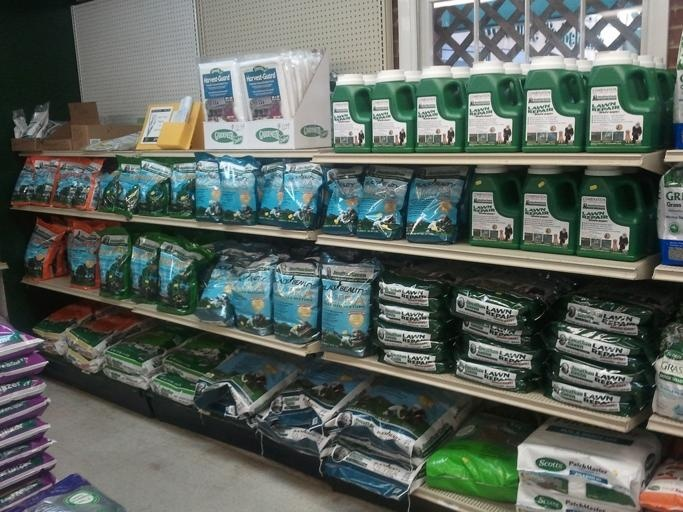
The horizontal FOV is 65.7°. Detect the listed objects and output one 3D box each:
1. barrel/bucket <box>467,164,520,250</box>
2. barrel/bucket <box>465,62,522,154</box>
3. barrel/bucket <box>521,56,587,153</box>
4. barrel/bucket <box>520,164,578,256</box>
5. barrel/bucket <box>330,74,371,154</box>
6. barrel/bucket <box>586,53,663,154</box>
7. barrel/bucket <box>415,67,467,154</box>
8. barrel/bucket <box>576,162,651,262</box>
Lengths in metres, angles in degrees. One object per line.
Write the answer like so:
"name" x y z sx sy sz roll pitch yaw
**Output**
"barrel/bucket" 0.683 -0.220 2.345 0.236 0.360 0.184 -4 14 4
"barrel/bucket" 0.636 -0.622 2.212 0.226 0.368 0.125 1 15 22
"barrel/bucket" 0.833 -0.596 2.088 0.231 0.374 0.116 0 15 17
"barrel/bucket" 0.877 -0.197 2.229 0.223 0.362 0.161 2 15 24
"barrel/bucket" 0.045 -0.693 2.577 0.195 0.368 0.151 -4 14 3
"barrel/bucket" 1.073 -0.586 2.022 0.232 0.376 0.216 -5 14 1
"barrel/bucket" 0.427 -0.640 2.317 0.218 0.372 0.108 -2 14 12
"barrel/bucket" 1.118 -0.184 2.153 0.256 0.362 0.289 4 16 31
